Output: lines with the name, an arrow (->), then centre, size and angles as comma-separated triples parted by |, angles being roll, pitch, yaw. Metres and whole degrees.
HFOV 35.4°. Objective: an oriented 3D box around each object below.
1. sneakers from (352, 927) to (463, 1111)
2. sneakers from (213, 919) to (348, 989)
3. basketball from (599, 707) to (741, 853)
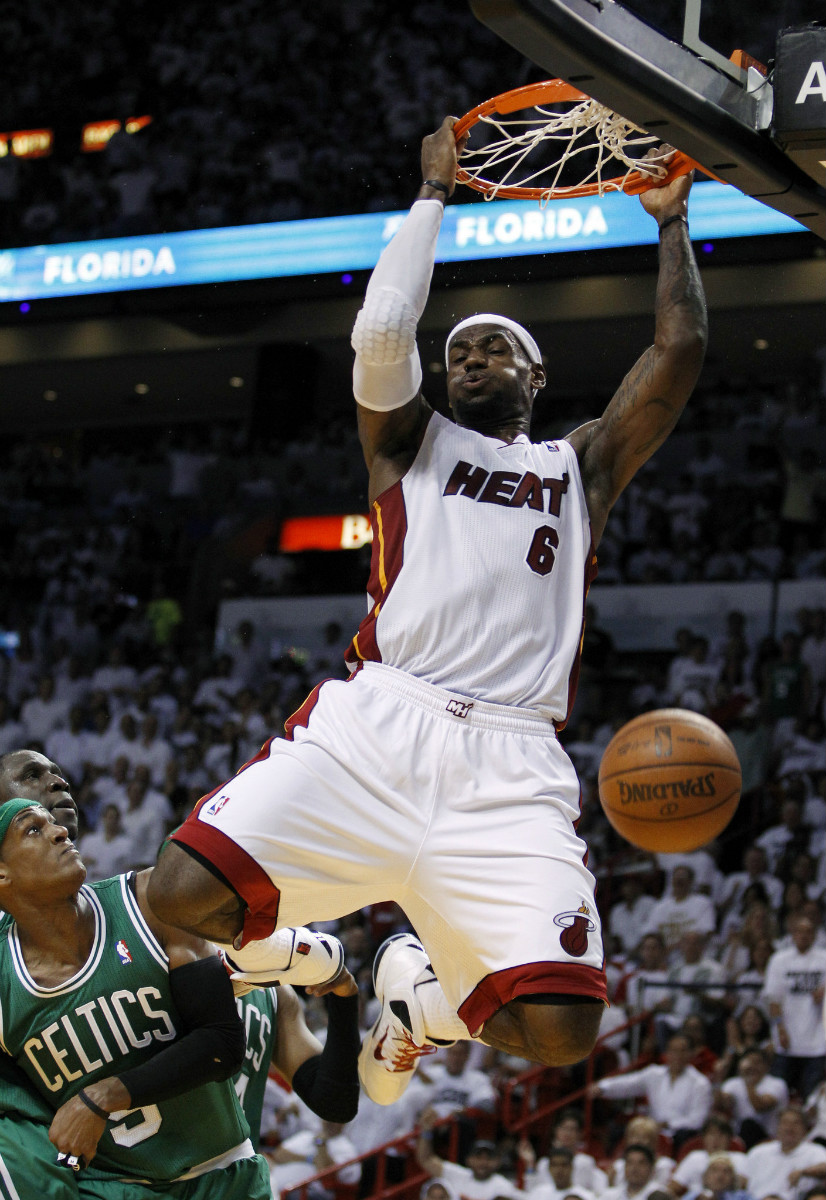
sneakers -> 0.020, 0.855, 2.602 | 0.156, 0.414, 0.181 | 8, 35, -30
sneakers -> -0.238, 0.691, 2.613 | 0.291, 0.112, 0.153 | 5, 42, -30
basketball -> 0.682, 0.468, 3.476 | 0.404, 0.402, 0.355 | 2, -11, -12
